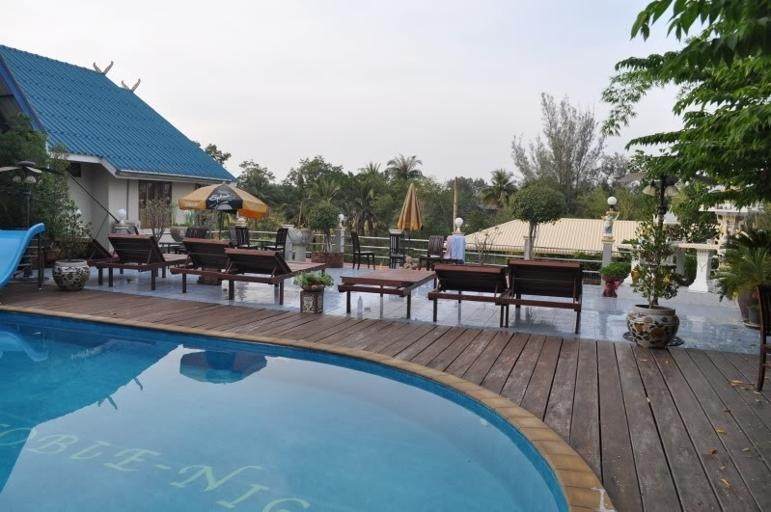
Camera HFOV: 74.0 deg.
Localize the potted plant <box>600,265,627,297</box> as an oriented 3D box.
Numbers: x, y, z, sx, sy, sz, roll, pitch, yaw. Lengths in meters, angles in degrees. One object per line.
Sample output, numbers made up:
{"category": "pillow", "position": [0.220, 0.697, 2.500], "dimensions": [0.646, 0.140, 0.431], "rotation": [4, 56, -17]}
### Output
{"category": "potted plant", "position": [5.504, 0.579, 12.323], "dimensions": [0.497, 0.789, 0.915], "rotation": [4, 3, 40]}
